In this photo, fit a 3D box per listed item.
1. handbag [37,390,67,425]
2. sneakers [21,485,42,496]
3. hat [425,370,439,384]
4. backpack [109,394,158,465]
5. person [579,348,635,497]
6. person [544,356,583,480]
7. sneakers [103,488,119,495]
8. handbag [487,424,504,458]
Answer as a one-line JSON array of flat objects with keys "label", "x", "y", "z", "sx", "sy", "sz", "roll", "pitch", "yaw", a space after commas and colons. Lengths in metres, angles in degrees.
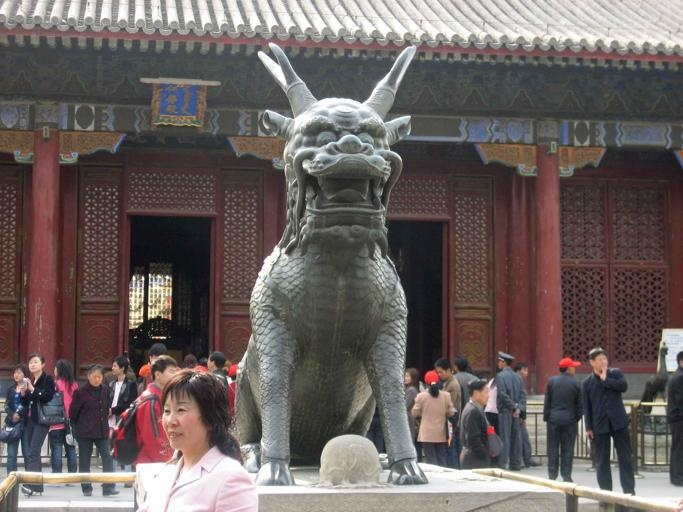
[{"label": "handbag", "x": -3.551, "y": 1.848, "z": 20.100, "sx": 0.360, "sy": 0.472, "sz": 0.212, "roll": 5, "pitch": -21, "yaw": -37}, {"label": "sneakers", "x": -3.763, "y": 2.840, "z": 20.057, "sx": 0.209, "sy": 0.132, "sz": 0.118, "roll": 31, "pitch": -10, "yaw": -21}, {"label": "hat", "x": 1.145, "y": 1.580, "z": 21.279, "sx": 0.160, "sy": 0.155, "sz": 0.199, "roll": 5, "pitch": 19, "yaw": 6}, {"label": "backpack", "x": -2.146, "y": 1.960, "z": 18.390, "sx": 0.805, "sy": 0.731, "sz": 0.477, "roll": 6, "pitch": -6, "yaw": -10}, {"label": "person", "x": 3.215, "y": 1.969, "z": 20.023, "sx": 0.566, "sy": 1.770, "sz": 0.600, "roll": 2, "pitch": -9, "yaw": -14}, {"label": "person", "x": 2.793, "y": 2.064, "z": 21.033, "sx": 0.479, "sy": 1.556, "sz": 0.682, "roll": -1, "pitch": -8, "yaw": 6}, {"label": "sneakers", "x": -2.815, "y": 2.852, "z": 20.095, "sx": 0.194, "sy": 0.137, "sz": 0.070, "roll": 3, "pitch": -2, "yaw": -13}, {"label": "handbag", "x": 1.854, "y": 2.248, "z": 20.212, "sx": 0.165, "sy": 0.362, "sz": 0.397, "roll": -1, "pitch": -8, "yaw": 6}]
